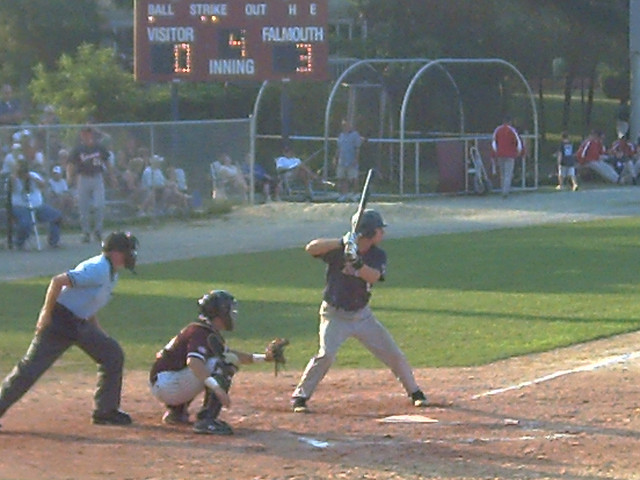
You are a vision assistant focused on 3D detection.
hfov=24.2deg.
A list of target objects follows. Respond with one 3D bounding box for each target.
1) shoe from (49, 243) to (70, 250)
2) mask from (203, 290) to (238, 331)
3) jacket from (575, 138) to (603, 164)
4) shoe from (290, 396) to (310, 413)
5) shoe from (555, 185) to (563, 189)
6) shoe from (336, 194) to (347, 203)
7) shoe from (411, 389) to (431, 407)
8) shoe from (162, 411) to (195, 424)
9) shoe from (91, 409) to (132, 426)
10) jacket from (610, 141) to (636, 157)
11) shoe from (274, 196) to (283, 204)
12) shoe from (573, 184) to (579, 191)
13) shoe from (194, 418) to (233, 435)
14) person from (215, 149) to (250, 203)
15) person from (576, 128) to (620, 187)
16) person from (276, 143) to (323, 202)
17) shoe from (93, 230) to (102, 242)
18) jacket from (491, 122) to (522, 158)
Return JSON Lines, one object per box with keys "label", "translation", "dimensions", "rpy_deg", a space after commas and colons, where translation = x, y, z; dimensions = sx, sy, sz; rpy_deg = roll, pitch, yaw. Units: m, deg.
{"label": "shoe", "translation": [-6.534, 0.113, 37.839], "dimensions": [0.478, 0.105, 0.528], "rpy_deg": [2, 4, 40]}
{"label": "mask", "translation": [-1.810, 1.258, 28.174], "dimensions": [0.716, 0.705, 0.558], "rpy_deg": [7, 10, -38]}
{"label": "jacket", "translation": [8.798, -2.969, 48.711], "dimensions": [0.787, 0.826, 0.755], "rpy_deg": [0, 3, 9]}
{"label": "shoe", "translation": [-0.395, 3.141, 29.005], "dimensions": [0.356, 0.355, 0.259], "rpy_deg": [3, 13, -1]}
{"label": "shoe", "translation": [7.566, -1.753, 47.201], "dimensions": [0.247, 0.115, 0.986], "rpy_deg": [0, 3, 8]}
{"label": "shoe", "translation": [0.647, -1.314, 44.085], "dimensions": [0.320, 0.198, 0.758], "rpy_deg": [0, 3, -1]}
{"label": "shoe", "translation": [1.971, 3.042, 29.239], "dimensions": [0.384, 0.370, 0.241], "rpy_deg": [-1, 4, 22]}
{"label": "shoe", "translation": [-2.735, 3.346, 28.709], "dimensions": [0.683, 0.287, 0.232], "rpy_deg": [1, 3, -1]}
{"label": "shoe", "translation": [-3.973, 3.336, 28.576], "dimensions": [0.691, 0.288, 0.291], "rpy_deg": [0, 3, -5]}
{"label": "jacket", "translation": [9.879, -3.032, 48.688], "dimensions": [0.531, 0.512, 0.888], "rpy_deg": [-2, 4, -33]}
{"label": "shoe", "translation": [-1.222, -1.289, 44.414], "dimensions": [0.244, 0.159, 0.753], "rpy_deg": [0, 3, -3]}
{"label": "shoe", "translation": [7.911, -1.685, 46.108], "dimensions": [0.158, 0.207, 0.198], "rpy_deg": [-3, 1, 5]}
{"label": "shoe", "translation": [-2.024, 3.463, 28.333], "dimensions": [0.677, 0.288, 0.296], "rpy_deg": [0, 1, 3]}
{"label": "person", "translation": [-2.603, -1.913, 43.650], "dimensions": [0.974, 1.713, 0.621], "rpy_deg": [-14, 32, 1]}
{"label": "person", "translation": [9.214, -2.836, 48.612], "dimensions": [1.348, 1.803, 1.138], "rpy_deg": [0, 3, 40]}
{"label": "person", "translation": [-0.593, -2.106, 45.192], "dimensions": [1.426, 1.774, 0.854], "rpy_deg": [-13, -11, 41]}
{"label": "shoe", "translation": [-5.768, -0.165, 38.742], "dimensions": [0.227, 0.280, 0.976], "rpy_deg": [-1, 3, -8]}
{"label": "jacket", "translation": [5.439, -2.948, 43.171], "dimensions": [0.832, 1.008, 0.536], "rpy_deg": [0, 3, 5]}
